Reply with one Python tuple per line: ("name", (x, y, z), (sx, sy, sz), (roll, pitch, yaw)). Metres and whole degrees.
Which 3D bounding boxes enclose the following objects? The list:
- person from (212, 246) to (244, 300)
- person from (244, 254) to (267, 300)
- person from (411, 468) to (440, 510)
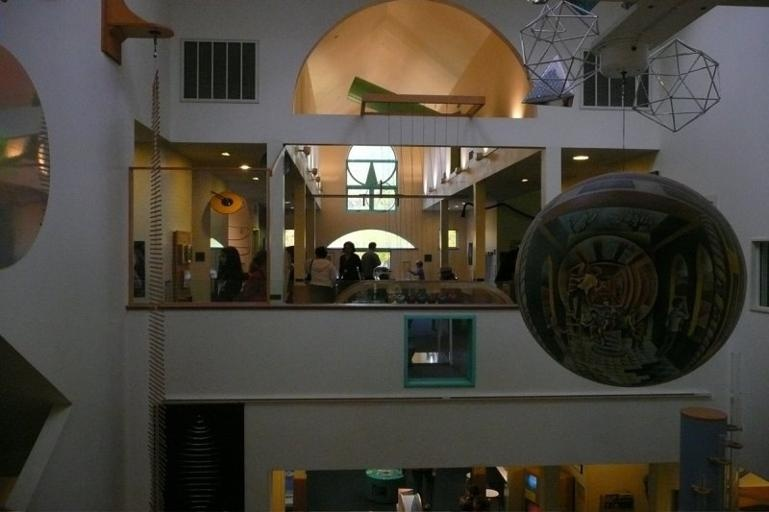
("person", (-2.376, 0.275, 10.965), (0.443, 0.845, 0.427), (1, 1, -13))
("person", (-1.995, 0.315, 11.024), (0.371, 0.792, 0.378), (1, 1, -12))
("person", (0.885, 4.997, 15.711), (0.473, 1.060, 1.585), (1, 1, 4))
